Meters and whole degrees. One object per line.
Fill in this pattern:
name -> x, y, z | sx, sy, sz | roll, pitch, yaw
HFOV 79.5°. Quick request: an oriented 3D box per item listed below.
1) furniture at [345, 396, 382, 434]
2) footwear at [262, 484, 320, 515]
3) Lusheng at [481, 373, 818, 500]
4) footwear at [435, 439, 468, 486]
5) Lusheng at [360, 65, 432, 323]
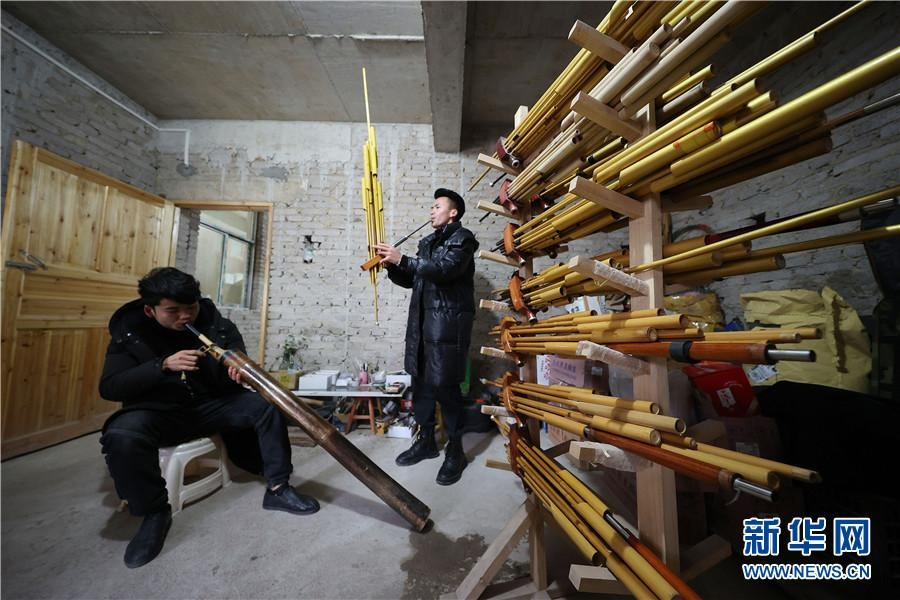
furniture -> -0.776, 1.023, 4.914 | 0.370, 0.366, 0.318 | -1, -3, 7
footwear -> -1.093, 1.365, 3.726 | 0.398, 0.125, 0.170 | 0, -6, 4
Lusheng -> 0.975, 0.679, 2.799 | 1.536, 0.508, 0.338 | -2, -2, 28
footwear -> 0.010, 1.190, 4.039 | 0.174, 0.298, 0.271 | -2, -2, 16
Lusheng -> -0.464, -0.974, 4.703 | 0.639, 2.336, 2.170 | -2, -2, -8
